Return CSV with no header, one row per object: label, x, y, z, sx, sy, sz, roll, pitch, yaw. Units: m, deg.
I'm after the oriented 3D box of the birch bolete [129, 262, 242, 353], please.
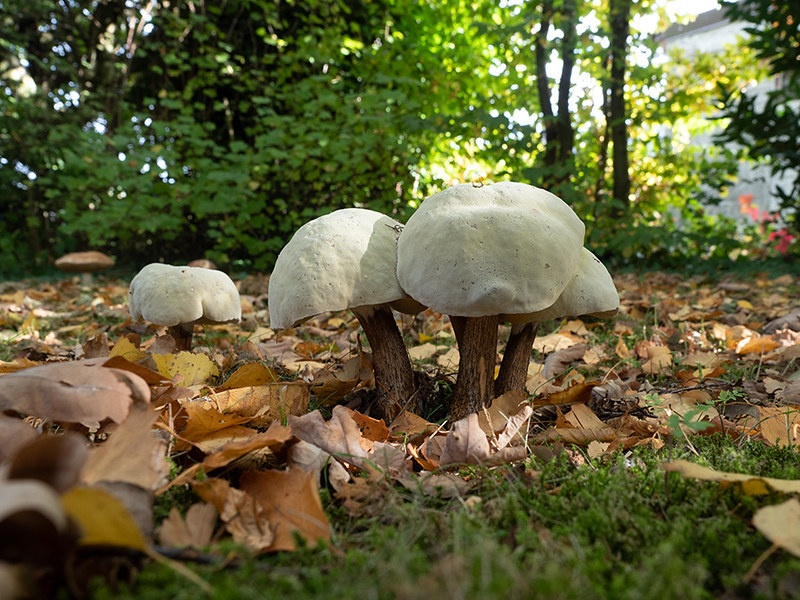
birch bolete,-1.161,0.054,3.588,0.494,0.431,0.504,9,-6,-31
